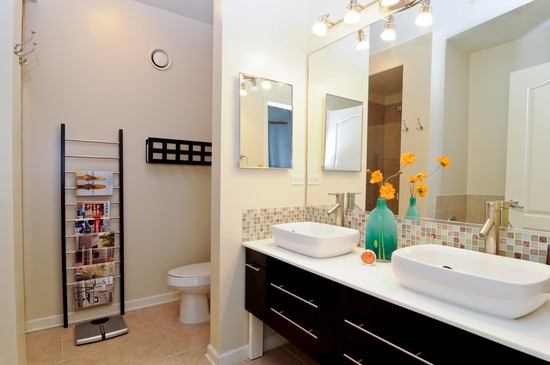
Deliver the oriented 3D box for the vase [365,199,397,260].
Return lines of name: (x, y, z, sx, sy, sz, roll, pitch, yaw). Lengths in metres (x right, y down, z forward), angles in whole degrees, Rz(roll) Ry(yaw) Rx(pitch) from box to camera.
vase: (0.794, 0.356, 2.858, 0.196, 0.466, 0.213, 11, 13, 38)

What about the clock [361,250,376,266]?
clock: (0.680, 0.542, 2.746, 0.107, 0.098, 0.099, 3, 14, 7)

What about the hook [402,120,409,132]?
hook: (0.987, -0.427, 2.888, 0.012, 0.086, 0.053, -7, 16, -30)

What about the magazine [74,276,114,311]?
magazine: (-1.786, 1.105, 3.762, 0.368, 0.309, 0.075, -5, 15, -26)

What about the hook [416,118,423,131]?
hook: (1.071, -0.429, 2.819, 0.049, 0.090, 0.032, -5, 3, 14)

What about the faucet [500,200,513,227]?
faucet: (1.524, 0.209, 2.516, 0.083, 0.171, 0.053, 5, 15, 16)

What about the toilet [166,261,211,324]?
toilet: (-0.861, 1.117, 3.848, 0.413, 0.510, 0.373, -2, 14, -14)

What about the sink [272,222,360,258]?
sink: (0.228, 0.411, 3.103, 0.767, 0.213, 0.846, 1, 0, -39)

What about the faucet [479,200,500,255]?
faucet: (1.395, 0.314, 2.489, 0.219, 0.371, 0.083, 1, 2, -37)

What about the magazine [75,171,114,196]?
magazine: (-1.785, 0.010, 3.729, 0.245, 0.209, 0.028, 0, 2, -29)

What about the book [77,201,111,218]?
book: (-1.791, 0.265, 3.755, 0.281, 0.158, 0.037, -6, 16, -28)

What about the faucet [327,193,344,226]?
faucet: (0.520, 0.237, 3.249, 0.163, 0.299, 0.064, 0, 0, -25)
